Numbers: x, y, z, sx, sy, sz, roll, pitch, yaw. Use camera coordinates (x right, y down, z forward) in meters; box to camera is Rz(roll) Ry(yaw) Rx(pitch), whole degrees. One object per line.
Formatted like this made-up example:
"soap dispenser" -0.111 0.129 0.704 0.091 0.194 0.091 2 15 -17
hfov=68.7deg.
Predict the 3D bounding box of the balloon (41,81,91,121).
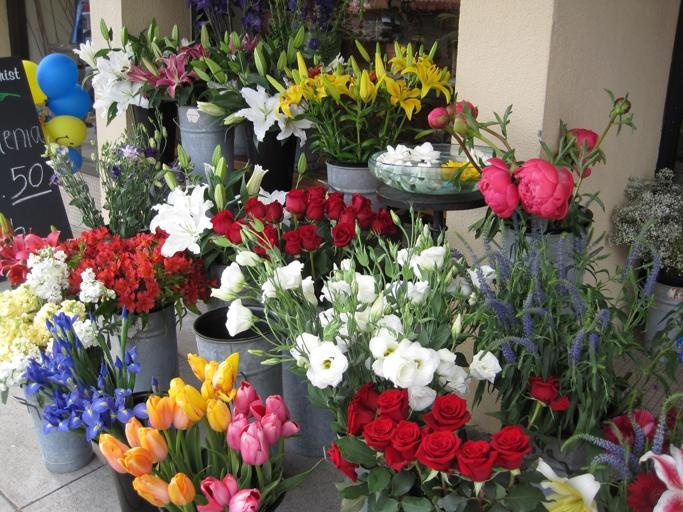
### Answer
"balloon" -1.695 -0.966 3.073 0.241 0.230 0.207 -12 27 -36
